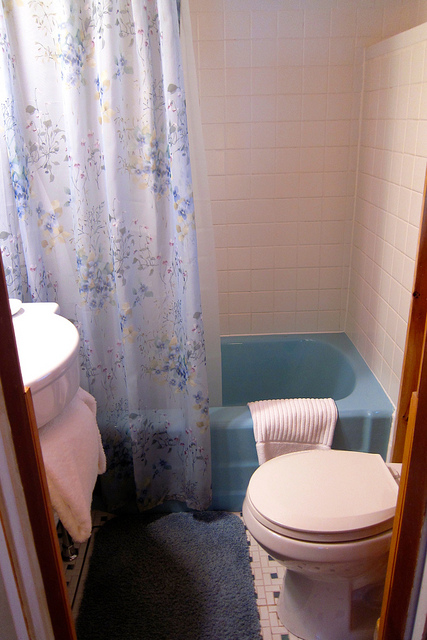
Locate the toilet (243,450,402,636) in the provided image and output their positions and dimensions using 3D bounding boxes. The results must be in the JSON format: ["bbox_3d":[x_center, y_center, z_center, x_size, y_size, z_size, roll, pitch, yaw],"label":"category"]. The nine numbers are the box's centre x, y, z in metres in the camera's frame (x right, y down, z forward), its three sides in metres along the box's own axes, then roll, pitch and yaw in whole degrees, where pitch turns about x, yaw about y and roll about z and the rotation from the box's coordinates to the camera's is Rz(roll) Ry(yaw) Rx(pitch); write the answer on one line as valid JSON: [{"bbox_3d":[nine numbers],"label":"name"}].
[{"bbox_3d":[0.272,0.674,1.363,0.371,0.551,0.429,1,21,0],"label":"toilet"}]

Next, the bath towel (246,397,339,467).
[{"bbox_3d":[0.289,0.381,1.750,0.253,0.221,0.387,-1,21,-11],"label":"bath towel"}]
